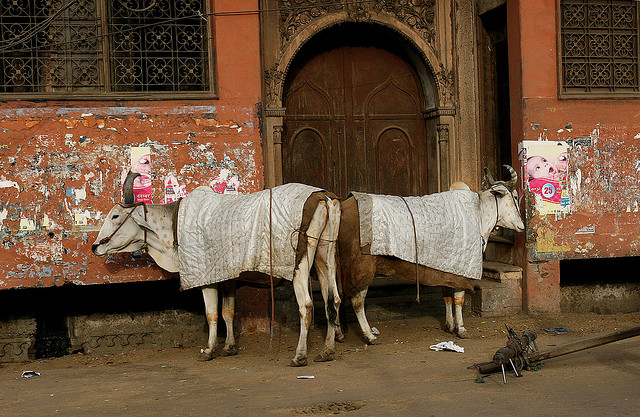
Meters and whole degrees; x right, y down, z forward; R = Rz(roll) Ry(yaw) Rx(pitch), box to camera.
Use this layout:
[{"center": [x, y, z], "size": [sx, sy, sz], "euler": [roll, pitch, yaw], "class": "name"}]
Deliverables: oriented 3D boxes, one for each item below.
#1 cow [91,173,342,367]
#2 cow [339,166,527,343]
[{"center": [-1.437, 0.877, 15.927], "size": [4.125, 2.568, 1.257], "euler": [-1, -1, 26], "class": "cow"}, {"center": [1.638, 0.665, 16.237], "size": [3.503, 2.492, 0.980], "euler": [-2, 0, -27], "class": "cow"}]
